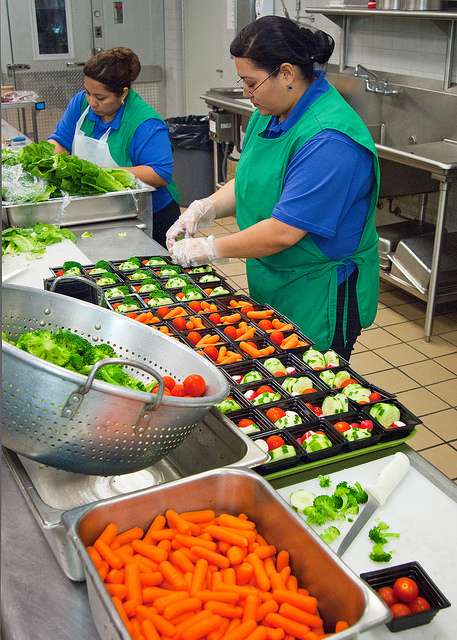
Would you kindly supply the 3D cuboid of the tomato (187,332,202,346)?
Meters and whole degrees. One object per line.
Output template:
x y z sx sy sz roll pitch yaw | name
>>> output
-0.110 0.056 1.512 0.040 0.046 0.039 -6 27 -11 | tomato

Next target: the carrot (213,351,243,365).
0.005 0.114 1.414 0.044 0.011 0.045 0 30 23 | carrot

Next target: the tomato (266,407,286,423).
0.119 0.236 1.163 0.034 0.038 0.034 -4 17 4 | tomato

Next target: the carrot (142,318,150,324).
-0.280 0.004 1.587 0.016 0.011 0.015 1 47 -7 | carrot

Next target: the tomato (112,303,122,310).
-0.408 -0.052 1.708 0.020 0.026 0.020 -33 49 -30 | tomato

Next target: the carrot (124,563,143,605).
-0.146 0.407 0.720 0.019 0.019 0.062 -2 49 -18 | carrot

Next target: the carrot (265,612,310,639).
0.086 0.451 0.680 0.066 0.031 0.026 4 20 11 | carrot

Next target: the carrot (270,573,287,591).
0.080 0.420 0.743 0.017 0.017 0.027 -15 30 -6 | carrot

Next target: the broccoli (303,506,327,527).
0.167 0.380 0.904 0.035 0.035 0.035 5 20 -6 | broccoli

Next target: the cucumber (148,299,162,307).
-0.277 -0.061 1.704 0.030 0.008 0.019 -33 39 -4 | cucumber

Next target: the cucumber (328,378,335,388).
0.290 0.176 1.306 0.015 0.017 0.024 6 20 17 | cucumber

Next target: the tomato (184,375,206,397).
-0.074 0.148 1.043 0.044 0.042 0.050 -4 -12 5 | tomato

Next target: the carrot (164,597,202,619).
-0.068 0.422 0.679 0.059 0.017 0.018 4 36 -44 | carrot

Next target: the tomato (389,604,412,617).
0.275 0.463 0.739 0.019 0.022 0.019 -8 2 4 | tomato

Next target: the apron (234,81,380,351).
0.357 -0.506 2.111 0.605 1.036 0.800 -7 29 2 | apron

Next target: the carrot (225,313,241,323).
0.018 -0.007 1.645 0.053 0.025 0.026 -15 67 -32 | carrot

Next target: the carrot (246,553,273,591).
0.059 0.415 0.764 0.020 0.017 0.058 -11 15 -2 | carrot

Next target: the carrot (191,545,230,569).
-0.030 0.409 0.802 0.069 0.028 0.018 7 21 19 | carrot

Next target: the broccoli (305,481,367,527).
0.243 0.370 0.962 0.067 0.040 0.115 -23 -9 29 | broccoli

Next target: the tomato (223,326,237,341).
0.008 0.049 1.586 0.040 0.044 0.039 6 44 1 | tomato

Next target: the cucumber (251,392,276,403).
0.095 0.197 1.220 0.053 0.028 0.025 -19 49 -17 | cucumber

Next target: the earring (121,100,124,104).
-0.629 -1.297 2.752 0.018 0.008 0.024 0 51 -7 | earring

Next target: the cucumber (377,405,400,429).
0.411 0.245 1.179 0.069 0.051 0.027 -14 24 -36 | cucumber

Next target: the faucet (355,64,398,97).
1.415 -2.265 4.373 0.156 0.247 0.487 -36 57 -24 | faucet

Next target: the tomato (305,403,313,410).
0.213 0.226 1.216 0.018 0.012 0.030 4 19 10 | tomato

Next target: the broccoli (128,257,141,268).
-0.410 -0.254 2.029 0.054 0.034 0.058 0 19 -2 | broccoli

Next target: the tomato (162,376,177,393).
-0.137 0.154 1.096 0.031 0.036 0.031 -3 2 6 | tomato

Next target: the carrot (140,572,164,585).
-0.124 0.415 0.742 0.034 0.016 0.013 1 11 -14 | carrot

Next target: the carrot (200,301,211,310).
-0.081 -0.056 1.715 0.023 0.022 0.031 -7 -7 26 | carrot

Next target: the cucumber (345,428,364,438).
0.303 0.271 1.112 0.017 0.011 0.020 -17 1 -12 | cucumber

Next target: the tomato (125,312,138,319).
-0.332 -0.016 1.604 0.025 0.024 0.023 -4 13 -4 | tomato

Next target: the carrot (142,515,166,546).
-0.130 0.377 0.830 0.028 0.032 0.054 10 21 26 | carrot

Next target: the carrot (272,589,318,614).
0.103 0.424 0.702 0.084 0.026 0.025 12 58 7 | carrot

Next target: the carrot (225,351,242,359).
0.017 0.105 1.430 0.020 0.011 0.037 -2 12 -17 | carrot

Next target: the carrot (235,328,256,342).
0.056 0.046 1.528 0.024 0.023 0.085 20 35 26 | carrot

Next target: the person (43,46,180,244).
-0.713 -1.061 2.947 0.811 1.181 0.798 -4 20 -11 | person

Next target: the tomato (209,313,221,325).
-0.047 -0.010 1.666 0.038 0.036 0.034 -7 40 -15 | tomato

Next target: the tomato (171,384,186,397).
-0.112 0.161 1.064 0.028 0.031 0.027 -3 0 4 | tomato

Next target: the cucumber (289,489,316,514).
0.156 0.368 0.949 0.055 0.014 0.051 -19 30 -33 | cucumber

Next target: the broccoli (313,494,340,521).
0.196 0.367 0.921 0.040 0.020 0.050 -5 37 -38 | broccoli

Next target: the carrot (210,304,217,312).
-0.054 -0.047 1.715 0.020 0.013 0.023 -9 35 -5 | carrot

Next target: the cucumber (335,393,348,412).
0.293 0.214 1.209 0.011 0.035 0.037 3 5 -8 | cucumber

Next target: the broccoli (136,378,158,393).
-0.183 0.140 1.040 0.042 0.017 0.048 -6 -2 -14 | broccoli

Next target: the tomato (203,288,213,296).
-0.085 -0.111 1.866 0.024 0.023 0.024 1 11 3 | tomato

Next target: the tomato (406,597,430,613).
0.309 0.458 0.745 0.024 0.027 0.023 -2 19 9 | tomato

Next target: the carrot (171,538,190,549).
-0.084 0.394 0.816 0.028 0.013 0.012 20 61 12 | carrot

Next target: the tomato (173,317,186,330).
-0.160 0.013 1.568 0.040 0.046 0.039 -3 3 4 | tomato

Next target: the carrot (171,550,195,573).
-0.076 0.409 0.788 0.039 0.014 0.020 35 47 17 | carrot

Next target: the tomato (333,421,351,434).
0.278 0.262 1.130 0.025 0.023 0.023 -4 1 6 | tomato
